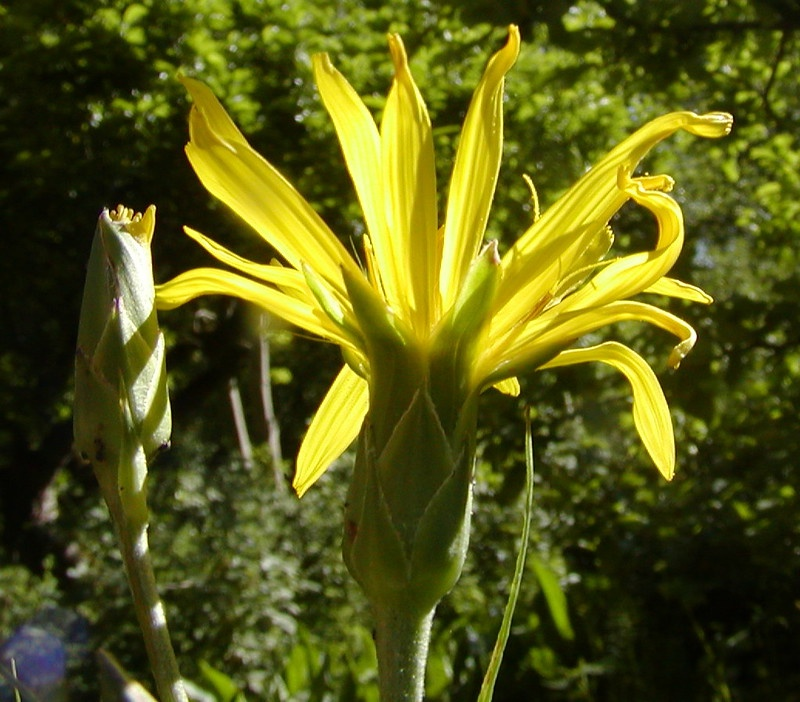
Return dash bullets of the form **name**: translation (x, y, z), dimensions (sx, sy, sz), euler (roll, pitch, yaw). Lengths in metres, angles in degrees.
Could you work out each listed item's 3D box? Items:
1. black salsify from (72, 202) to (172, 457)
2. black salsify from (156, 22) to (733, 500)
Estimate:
- **black salsify**: translation (-0.445, -0.024, 1.487), dimensions (0.170, 0.383, 0.101), euler (-9, 10, -15)
- **black salsify**: translation (0.117, -0.146, 1.769), dimensions (0.947, 0.509, 0.911), euler (15, -9, -37)
